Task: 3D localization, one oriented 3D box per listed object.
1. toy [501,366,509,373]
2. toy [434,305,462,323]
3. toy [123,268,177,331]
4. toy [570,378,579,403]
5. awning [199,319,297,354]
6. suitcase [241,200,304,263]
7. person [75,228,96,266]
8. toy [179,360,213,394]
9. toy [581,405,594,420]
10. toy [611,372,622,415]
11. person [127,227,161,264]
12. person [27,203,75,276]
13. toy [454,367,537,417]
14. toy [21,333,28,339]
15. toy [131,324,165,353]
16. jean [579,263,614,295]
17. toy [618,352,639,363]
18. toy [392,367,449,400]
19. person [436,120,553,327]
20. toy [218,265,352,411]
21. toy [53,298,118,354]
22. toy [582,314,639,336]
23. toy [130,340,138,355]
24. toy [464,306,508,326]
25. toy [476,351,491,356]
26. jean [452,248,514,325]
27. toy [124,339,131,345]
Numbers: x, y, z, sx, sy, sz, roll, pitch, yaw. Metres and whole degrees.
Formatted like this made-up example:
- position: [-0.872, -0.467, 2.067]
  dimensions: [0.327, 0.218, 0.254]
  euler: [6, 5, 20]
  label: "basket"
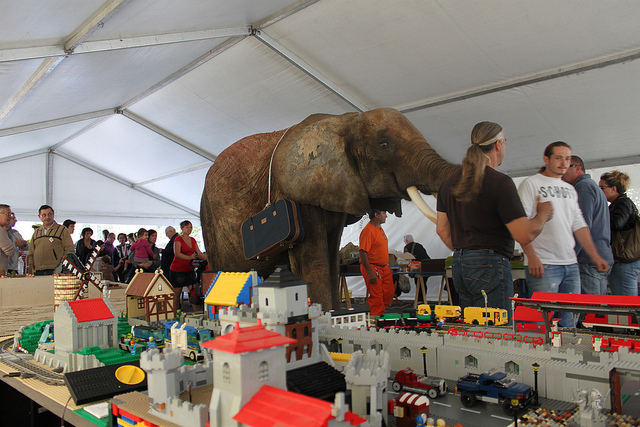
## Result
- position: [1.475, 1.239, 3.877]
  dimensions: [0.062, 0.058, 0.033]
  euler: [-3, -7, 21]
  label: "toy"
- position: [1.323, 1.041, 5.043]
  dimensions: [0.230, 0.132, 0.144]
  euler: [-3, -3, 36]
  label: "toy"
- position: [-1.961, 0.980, 5.590]
  dimensions: [0.403, 0.630, 0.475]
  euler: [0, 0, 38]
  label: "toy"
- position: [1.893, 1.317, 3.604]
  dimensions: [0.065, 0.178, 0.119]
  euler: [-3, -10, 13]
  label: "toy"
- position: [-0.501, 0.905, 3.569]
  dimensions: [0.537, 0.170, 0.467]
  euler: [-2, -2, -45]
  label: "awning"
- position: [-0.626, 0.213, 6.238]
  dimensions: [0.874, 0.678, 0.300]
  euler: [-29, -29, 34]
  label: "suitcase"
- position: [-5.357, 0.724, 11.061]
  dimensions: [0.367, 0.930, 1.184]
  euler: [4, -11, -25]
  label: "person"
- position: [-0.960, 1.268, 3.778]
  dimensions: [0.209, 0.084, 0.204]
  euler: [-2, -2, 8]
  label: "toy"
- position: [1.808, 1.342, 3.269]
  dimensions: [0.115, 0.073, 0.057]
  euler: [6, -12, -35]
  label: "toy"
- position: [2.143, 1.298, 3.518]
  dimensions: [0.057, 0.279, 0.045]
  euler: [-6, -11, 27]
  label: "toy"
- position: [-4.062, 0.758, 11.208]
  dimensions: [0.553, 0.837, 0.599]
  euler: [3, -10, -18]
  label: "person"
- position: [-4.016, 0.398, 7.161]
  dimensions: [0.889, 1.007, 0.343]
  euler: [-5, -11, 25]
  label: "person"
- position: [1.313, 1.322, 3.677]
  dimensions: [0.499, 0.250, 0.275]
  euler: [-3, -2, 33]
  label: "toy"
- position: [-3.128, 1.298, 5.132]
  dimensions: [0.049, 0.044, 0.013]
  euler: [-8, -29, 20]
  label: "toy"
- position: [-1.745, 1.249, 4.889]
  dimensions: [0.534, 0.267, 0.175]
  euler: [0, 0, 27]
  label: "toy"
- position: [3.110, 0.723, 5.455]
  dimensions: [0.274, 0.432, 0.309]
  euler: [13, 19, 22]
  label: "jean"
- position: [2.297, 1.074, 3.620]
  dimensions: [0.137, 0.064, 0.029]
  euler: [-5, -11, 26]
  label: "toy"
- position: [0.795, 1.345, 3.855]
  dimensions: [0.346, 0.141, 0.198]
  euler: [1, -1, 31]
  label: "toy"
- position: [1.581, 0.089, 4.506]
  dimensions: [0.973, 1.886, 0.687]
  euler: [-3, -10, 12]
  label: "person"
- position: [-0.277, 0.980, 4.275]
  dimensions: [1.412, 0.922, 0.783]
  euler: [9, -20, -26]
  label: "toy"
- position: [-2.290, 1.077, 4.744]
  dimensions: [0.554, 0.446, 0.549]
  euler: [-5, -5, 19]
  label: "toy"
- position: [2.633, 1.006, 4.463]
  dimensions: [0.524, 0.168, 0.147]
  euler: [-4, -4, 43]
  label: "toy"
- position: [-1.778, 1.282, 4.622]
  dimensions: [0.076, 0.114, 0.074]
  euler: [-1, -9, -4]
  label: "toy"
- position: [1.539, 0.942, 4.525]
  dimensions: [0.353, 0.154, 0.166]
  euler: [-1, 0, 35]
  label: "toy"
- position: [1.332, 1.135, 3.958]
  dimensions: [0.126, 0.020, 0.046]
  euler: [5, -11, -30]
  label: "toy"
- position: [1.517, 0.685, 4.544]
  dimensions: [0.519, 0.697, 0.445]
  euler: [-4, -10, 18]
  label: "jean"
- position: [-1.893, 1.258, 4.772]
  dimensions: [0.066, 0.061, 0.035]
  euler: [-5, -8, 31]
  label: "toy"
